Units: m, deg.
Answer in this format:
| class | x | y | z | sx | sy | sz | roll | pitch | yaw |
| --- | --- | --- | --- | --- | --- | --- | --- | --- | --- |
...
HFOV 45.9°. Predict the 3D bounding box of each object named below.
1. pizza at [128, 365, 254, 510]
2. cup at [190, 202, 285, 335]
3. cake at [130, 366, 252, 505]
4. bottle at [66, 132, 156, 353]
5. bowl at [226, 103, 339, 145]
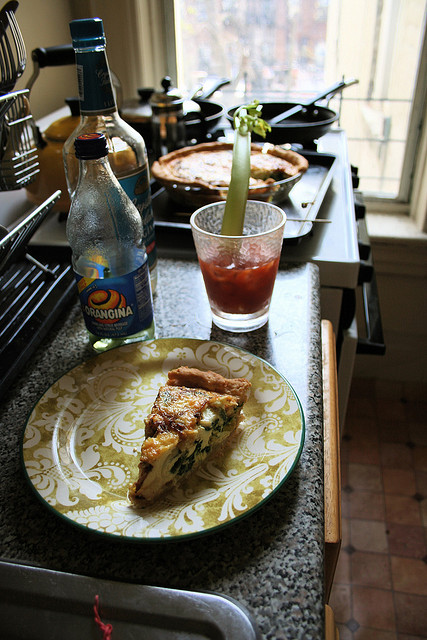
| class | x | y | z | sx | sy | sz | roll | pitch | yaw |
| --- | --- | --- | --- | --- | --- | --- | --- | --- | --- |
| pizza | -0.021 | 0.089 | 0.430 | 0.062 | 0.039 | 0.117 | 20 | 41 | 19 |
| cup | 0.025 | -0.041 | 0.628 | 0.121 | 0.165 | 0.117 | 3 | 23 | -1 |
| cake | -0.024 | 0.096 | 0.433 | 0.081 | 0.053 | 0.160 | 8 | 20 | 16 |
| bottle | -0.112 | -0.078 | 0.542 | 0.082 | 0.232 | 0.084 | -1 | 34 | 1 |
| bowl | 0.198 | -0.522 | 1.281 | 0.235 | 0.057 | 0.263 | -8 | 29 | -37 |
